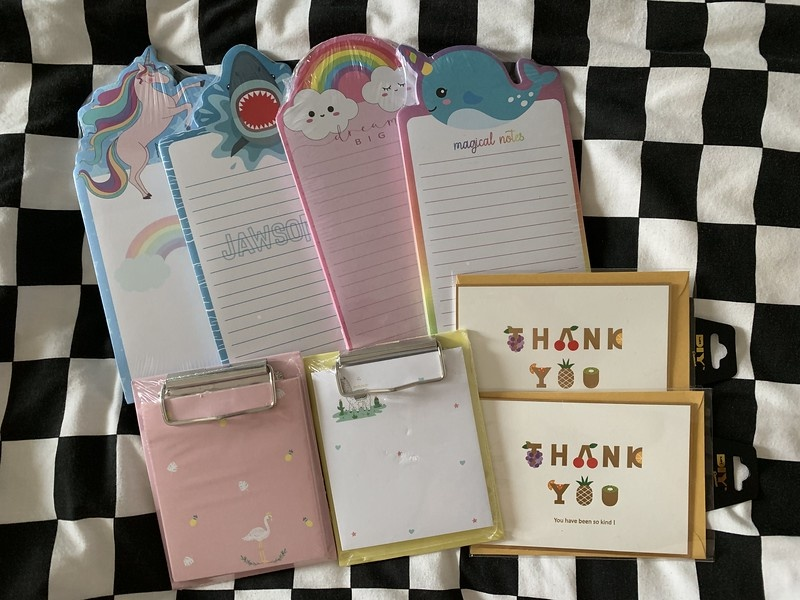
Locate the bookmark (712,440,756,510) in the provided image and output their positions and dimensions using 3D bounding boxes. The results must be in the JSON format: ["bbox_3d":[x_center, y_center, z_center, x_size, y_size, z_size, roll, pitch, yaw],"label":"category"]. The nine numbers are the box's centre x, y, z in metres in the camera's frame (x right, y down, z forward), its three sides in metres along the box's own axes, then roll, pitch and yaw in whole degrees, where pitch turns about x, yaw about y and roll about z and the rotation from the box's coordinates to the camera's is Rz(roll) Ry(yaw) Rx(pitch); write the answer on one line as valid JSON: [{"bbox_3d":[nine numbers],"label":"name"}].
[{"bbox_3d":[0.579,0.305,1.489,0.115,0.014,0.130,0,81,-7],"label":"bookmark"}]

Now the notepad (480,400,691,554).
[{"bbox_3d":[0.331,0.305,1.462,0.248,0.012,0.186,0,91,4],"label":"notepad"}]

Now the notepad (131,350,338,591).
[{"bbox_3d":[-0.279,0.284,1.449,0.286,0.155,0.326,-11,67,0],"label":"notepad"}]

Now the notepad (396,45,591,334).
[{"bbox_3d":[0.159,-0.215,1.518,0.300,0.542,0.028,-6,44,10],"label":"notepad"}]

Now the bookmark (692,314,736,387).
[{"bbox_3d":[0.542,0.093,1.507,0.086,0.012,0.118,2,63,5],"label":"bookmark"}]
